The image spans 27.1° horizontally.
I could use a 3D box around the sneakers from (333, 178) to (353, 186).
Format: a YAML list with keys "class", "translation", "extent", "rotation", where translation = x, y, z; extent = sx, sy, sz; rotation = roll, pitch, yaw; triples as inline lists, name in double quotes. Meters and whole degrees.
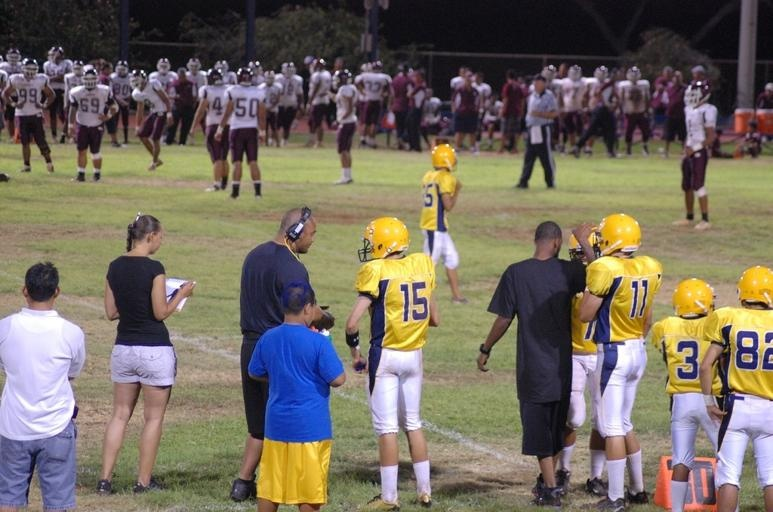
- class: "sneakers"
  translation: [-1.171, -1.965, 42.137]
  extent: [0.447, 0.183, 0.152]
  rotation: [0, 17, -2]

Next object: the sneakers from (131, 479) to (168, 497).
- class: "sneakers"
  translation: [-3.975, 3.868, 26.817]
  extent: [0.582, 0.259, 0.210]
  rotation: [-2, 9, -14]

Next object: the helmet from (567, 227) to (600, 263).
- class: "helmet"
  translation: [3.365, -0.246, 27.492]
  extent: [0.491, 0.564, 0.614]
  rotation: [-9, 12, -30]

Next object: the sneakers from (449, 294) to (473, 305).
- class: "sneakers"
  translation: [1.472, 0.894, 33.060]
  extent: [0.406, 0.171, 0.152]
  rotation: [2, 27, -9]

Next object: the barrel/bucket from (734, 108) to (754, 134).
- class: "barrel/bucket"
  translation: [10.767, -4.147, 48.931]
  extent: [0.727, 0.808, 0.723]
  rotation: [1, 9, 0]

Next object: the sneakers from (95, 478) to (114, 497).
- class: "sneakers"
  translation: [-4.705, 3.848, 26.729]
  extent: [0.250, 0.214, 0.251]
  rotation: [0, 16, -28]

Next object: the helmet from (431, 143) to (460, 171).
- class: "helmet"
  translation: [1.122, -2.016, 32.430]
  extent: [0.451, 0.534, 0.552]
  rotation: [1, 6, 7]

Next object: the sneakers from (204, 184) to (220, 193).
- class: "sneakers"
  translation: [-4.397, -1.718, 40.247]
  extent: [0.471, 0.197, 0.178]
  rotation: [2, 23, 8]

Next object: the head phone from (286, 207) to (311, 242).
- class: "head phone"
  translation: [-1.479, -0.520, 26.771]
  extent: [0.219, 0.546, 0.427]
  rotation: [37, 17, 4]
